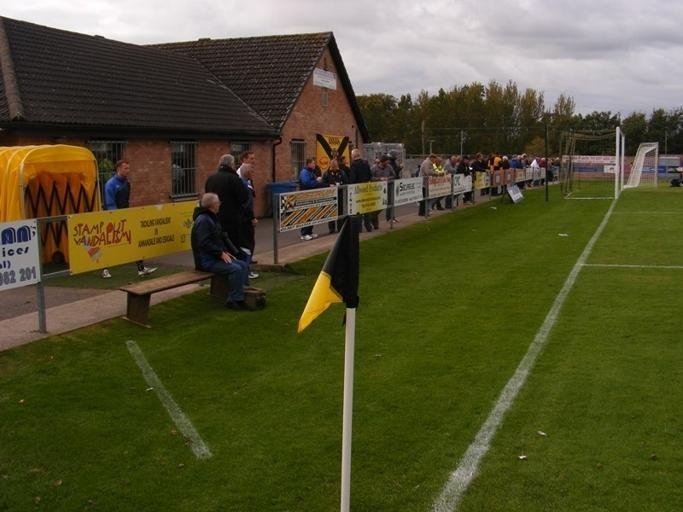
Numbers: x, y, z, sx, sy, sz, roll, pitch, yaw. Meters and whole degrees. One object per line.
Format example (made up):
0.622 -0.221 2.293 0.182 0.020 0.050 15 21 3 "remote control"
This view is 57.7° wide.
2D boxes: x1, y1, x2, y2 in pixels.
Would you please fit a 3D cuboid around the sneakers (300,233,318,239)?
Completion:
-0.908 -0.525 17.071 0.486 0.210 0.168 -4 3 29 "sneakers"

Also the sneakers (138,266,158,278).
-3.860 0.295 12.444 0.394 0.177 0.131 -20 31 -23 "sneakers"

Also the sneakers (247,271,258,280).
-1.765 0.376 12.100 0.309 0.126 0.105 -1 5 6 "sneakers"

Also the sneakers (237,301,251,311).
-1.547 0.781 9.844 0.221 0.143 0.107 0 11 2 "sneakers"

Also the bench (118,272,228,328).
-2.717 0.654 9.375 0.641 0.572 1.179 9 15 41 "bench"

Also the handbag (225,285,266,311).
-1.532 0.674 9.995 0.439 0.175 0.375 4 6 29 "handbag"
